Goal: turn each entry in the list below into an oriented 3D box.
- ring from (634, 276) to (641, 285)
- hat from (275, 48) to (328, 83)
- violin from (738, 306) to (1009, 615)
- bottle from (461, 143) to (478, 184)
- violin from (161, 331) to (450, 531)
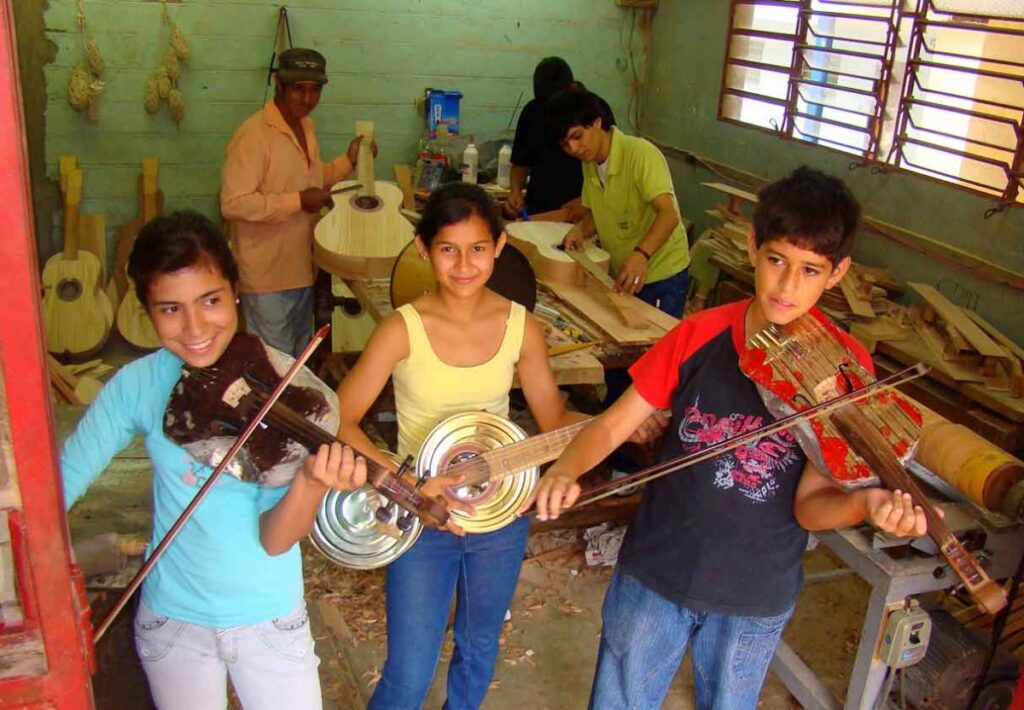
[{"bbox_3d":[0.777,-0.470,4.370,0.047,0.047,0.014,11,4,-21],"label":"ring"},{"bbox_3d":[-1.403,-1.921,4.623,0.261,0.148,0.369,-3,33,-29],"label":"hat"},{"bbox_3d":[0.841,0.163,1.982,0.395,0.164,1.120,-26,58,-2],"label":"violin"},{"bbox_3d":[-0.404,-1.855,6.780,0.158,0.337,0.420,2,19,-6],"label":"bottle"},{"bbox_3d":[-0.533,0.266,1.893,0.778,0.156,0.349,26,30,-4],"label":"violin"}]
